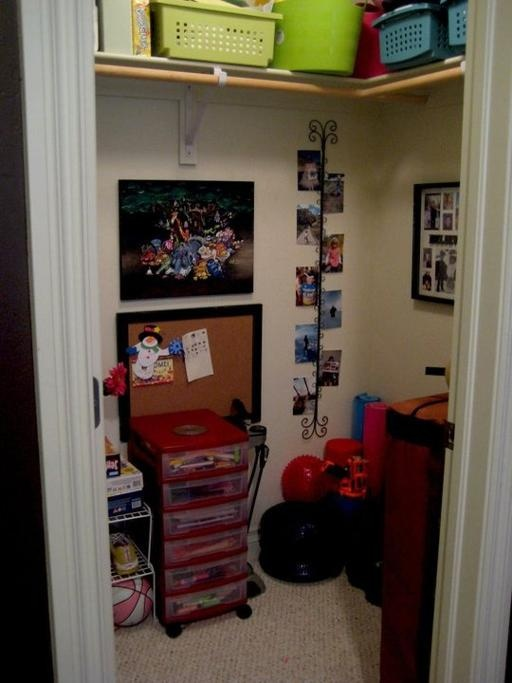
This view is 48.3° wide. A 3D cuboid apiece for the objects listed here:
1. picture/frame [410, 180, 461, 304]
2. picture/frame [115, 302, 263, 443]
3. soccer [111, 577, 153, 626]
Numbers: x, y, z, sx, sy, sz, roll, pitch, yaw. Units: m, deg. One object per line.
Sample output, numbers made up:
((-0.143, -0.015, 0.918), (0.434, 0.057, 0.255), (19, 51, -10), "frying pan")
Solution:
((0.743, -0.402, 2.363), (0.065, 0.491, 0.273), (-3, 8, -19), "picture/frame")
((-0.297, 0.120, 2.320), (0.521, 0.465, 0.028), (-6, 13, -25), "picture/frame")
((-0.461, 0.969, 2.130), (0.161, 0.182, 0.058), (-7, 10, -41), "soccer")
